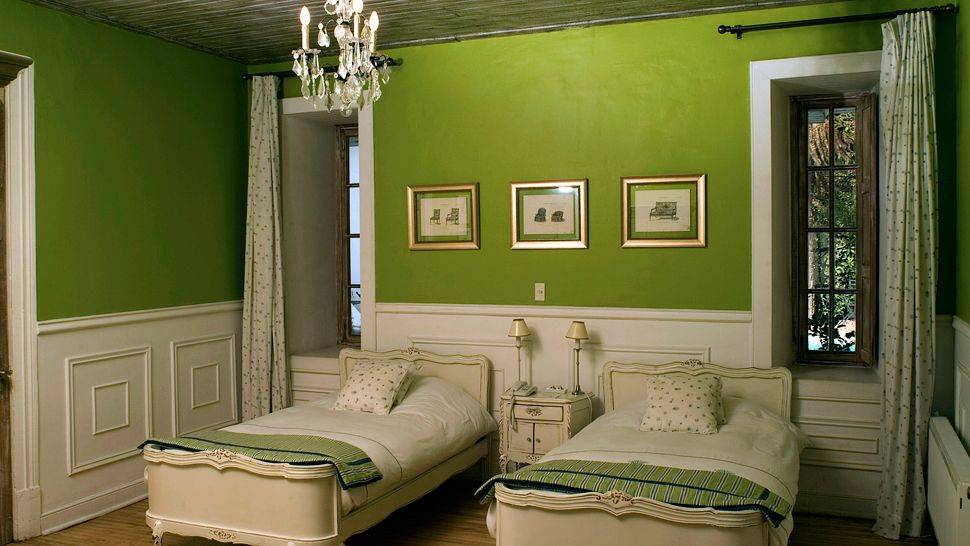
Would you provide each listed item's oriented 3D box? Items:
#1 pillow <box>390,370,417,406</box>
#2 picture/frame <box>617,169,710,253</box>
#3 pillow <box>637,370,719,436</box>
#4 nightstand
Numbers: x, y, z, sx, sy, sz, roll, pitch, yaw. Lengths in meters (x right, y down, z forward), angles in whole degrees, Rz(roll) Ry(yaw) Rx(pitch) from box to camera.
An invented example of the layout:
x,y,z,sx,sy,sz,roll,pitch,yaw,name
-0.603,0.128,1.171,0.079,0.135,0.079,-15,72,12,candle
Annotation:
x,y,z,sx,sy,sz,roll,pitch,yaw,name
-0.814,1.132,7.397,0.064,0.128,0.386,-38,11,28,pillow
1.775,-0.616,7.372,0.817,0.714,0.061,0,-3,12,picture/frame
1.770,1.132,6.748,0.544,0.168,0.523,0,48,18,pillow
0.672,1.400,7.513,0.979,0.932,0.754,-2,-4,18,nightstand
